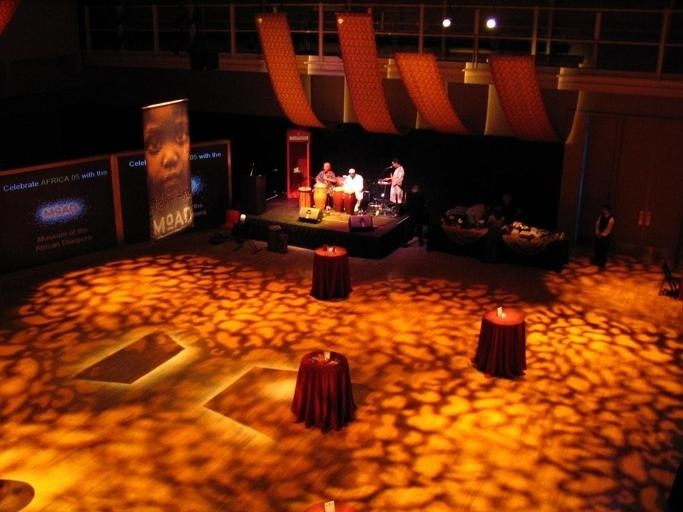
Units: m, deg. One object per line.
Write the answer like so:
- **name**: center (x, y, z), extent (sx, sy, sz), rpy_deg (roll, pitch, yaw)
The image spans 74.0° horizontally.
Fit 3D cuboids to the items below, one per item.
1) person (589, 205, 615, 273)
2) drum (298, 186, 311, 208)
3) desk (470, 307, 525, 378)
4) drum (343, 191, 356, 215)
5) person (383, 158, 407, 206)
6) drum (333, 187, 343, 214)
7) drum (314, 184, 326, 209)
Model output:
- **person**: center (5.318, -0.400, 9.182), extent (0.332, 1.258, 0.560), rpy_deg (11, 19, 30)
- **drum**: center (-0.839, -1.359, 10.586), extent (0.291, 0.486, 0.866), rpy_deg (0, 17, -4)
- **desk**: center (2.030, 1.144, 6.156), extent (0.799, 0.858, 0.778), rpy_deg (-1, 24, 0)
- **drum**: center (0.183, -1.213, 10.356), extent (0.284, 0.509, 0.206), rpy_deg (6, 17, 14)
- **person**: center (1.263, -1.756, 10.627), extent (0.510, 1.058, 0.737), rpy_deg (3, 17, 6)
- **drum**: center (-0.070, -1.311, 10.525), extent (0.385, 0.575, 0.238), rpy_deg (11, 19, 28)
- **drum**: center (-0.472, -1.379, 10.503), extent (0.349, 0.584, 0.342), rpy_deg (2, 17, 0)
